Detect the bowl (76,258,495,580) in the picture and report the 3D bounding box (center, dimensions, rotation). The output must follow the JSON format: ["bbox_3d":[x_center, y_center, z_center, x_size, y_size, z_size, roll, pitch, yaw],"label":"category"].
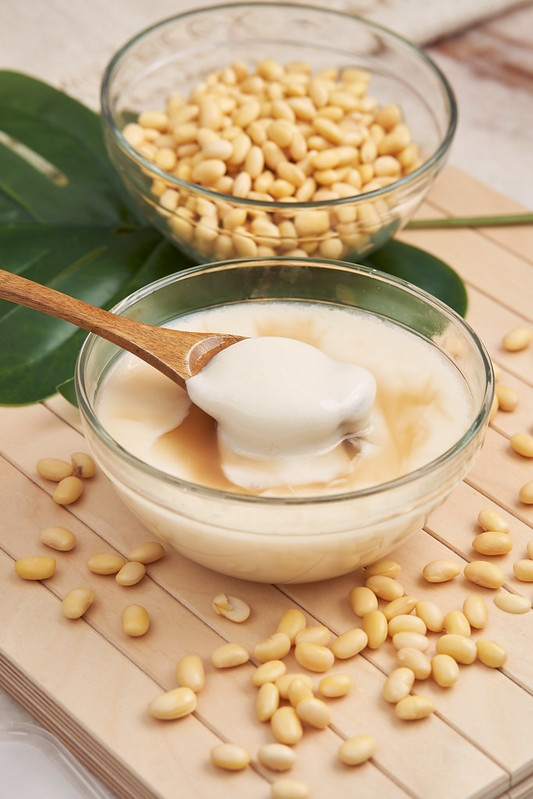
[{"bbox_3d":[0.021,0.028,0.644,0.319,0.214,0.312,-3,28,2],"label":"bowl"}]
